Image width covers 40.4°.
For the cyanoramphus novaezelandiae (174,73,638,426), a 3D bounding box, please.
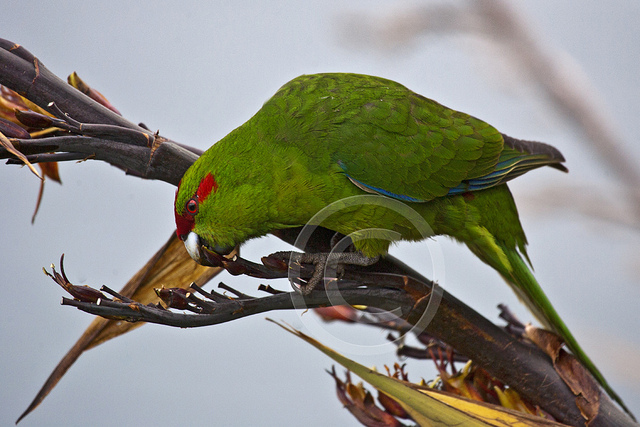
[{"bbox_3d":[-0.086,0.194,3.518,2.181,1.424,0.744,-5,-26,-2],"label":"cyanoramphus novaezelandiae"}]
